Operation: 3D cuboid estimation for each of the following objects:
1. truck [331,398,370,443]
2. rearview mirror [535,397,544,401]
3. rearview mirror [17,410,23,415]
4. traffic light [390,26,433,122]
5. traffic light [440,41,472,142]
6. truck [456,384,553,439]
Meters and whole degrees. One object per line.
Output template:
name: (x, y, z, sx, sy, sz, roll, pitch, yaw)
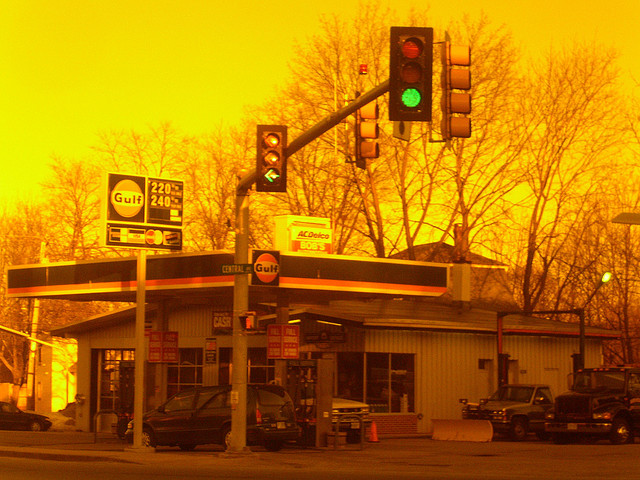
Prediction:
truck: (1.080, 6.559, 36.162, 1.217, 1.501, 1.100, -1, -11, 4)
rearview mirror: (8.656, 6.320, 39.560, 0.456, 0.149, 0.014, 9, -18, -27)
rearview mirror: (-14.288, 8.264, 47.785, 0.206, 0.240, 0.307, 4, -17, -13)
traffic light: (1.956, -3.659, 21.648, 0.900, 2.097, 0.785, 0, -16, 3)
traffic light: (2.856, -3.278, 21.120, 0.613, 2.230, 0.993, -1, -16, 6)
truck: (8.328, 6.924, 40.662, 5.415, 2.016, 2.674, 4, -6, -35)
